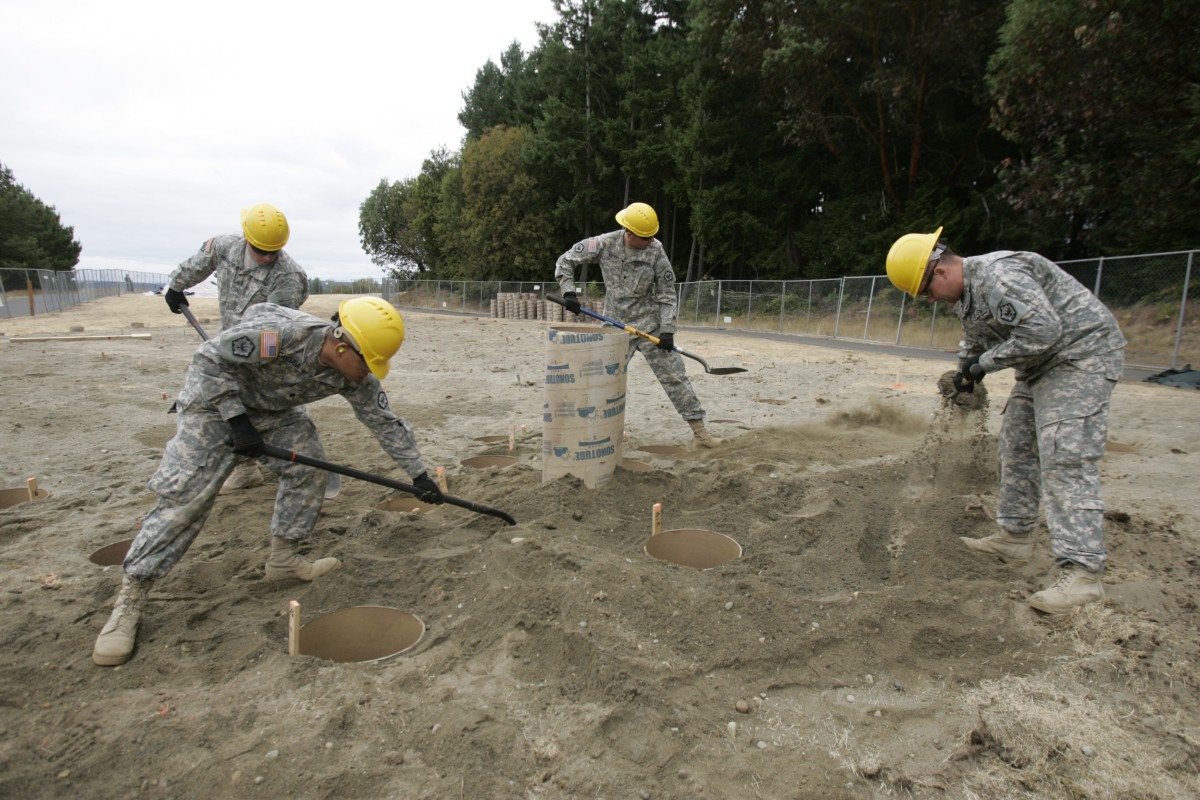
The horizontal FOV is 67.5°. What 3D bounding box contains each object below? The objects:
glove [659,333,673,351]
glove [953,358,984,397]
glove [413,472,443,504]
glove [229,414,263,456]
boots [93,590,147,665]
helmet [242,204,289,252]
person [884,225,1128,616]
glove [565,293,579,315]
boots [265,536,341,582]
[{"bbox_3d":[0.709,-0.615,9.650,0.154,0.163,0.167,-1,13,-21],"label":"glove"},{"bbox_3d":[3.179,-0.198,7.722,0.101,0.284,0.223,2,1,-7],"label":"glove"},{"bbox_3d":[-1.425,0.737,7.528,0.241,0.259,0.139,4,13,16],"label":"glove"},{"bbox_3d":[-2.758,0.280,7.021,0.226,0.325,0.142,-4,13,-20],"label":"glove"},{"bbox_3d":[-3.708,1.691,6.949,0.303,0.528,0.878,2,4,-18],"label":"boots"},{"bbox_3d":[-3.137,-1.610,8.445,0.399,0.427,0.235,-2,13,-13],"label":"helmet"},{"bbox_3d":[3.328,0.092,7.191,1.590,2.759,1.165,9,15,33],"label":"person"},{"bbox_3d":[-0.292,-1.041,9.726,0.151,0.242,0.433,0,12,-2],"label":"glove"},{"bbox_3d":[-2.464,1.346,7.682,0.695,0.474,0.281,-6,3,-22],"label":"boots"}]
